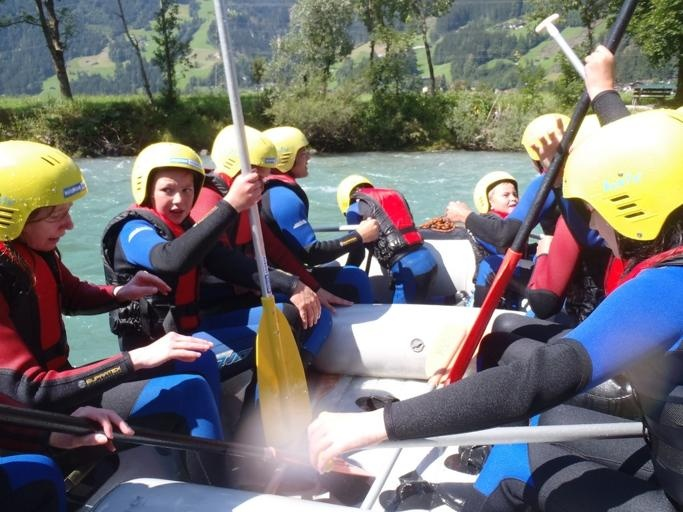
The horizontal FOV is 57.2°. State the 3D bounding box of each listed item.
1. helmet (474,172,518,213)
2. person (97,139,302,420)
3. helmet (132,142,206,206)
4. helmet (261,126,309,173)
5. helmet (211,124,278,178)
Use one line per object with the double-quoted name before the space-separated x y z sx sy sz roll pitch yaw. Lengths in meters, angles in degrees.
"helmet" 1.203 -0.568 5.163 0.310 0.411 0.388 2 14 -1
"person" -0.724 -0.002 3.235 1.093 1.174 0.969 -8 4 11
"helmet" -0.912 -0.423 3.322 0.352 0.293 0.387 5 -2 -1
"helmet" -0.423 -0.740 4.562 0.334 0.284 0.333 -8 2 38
"helmet" -0.665 -0.680 4.178 0.479 0.380 0.356 2 3 22
